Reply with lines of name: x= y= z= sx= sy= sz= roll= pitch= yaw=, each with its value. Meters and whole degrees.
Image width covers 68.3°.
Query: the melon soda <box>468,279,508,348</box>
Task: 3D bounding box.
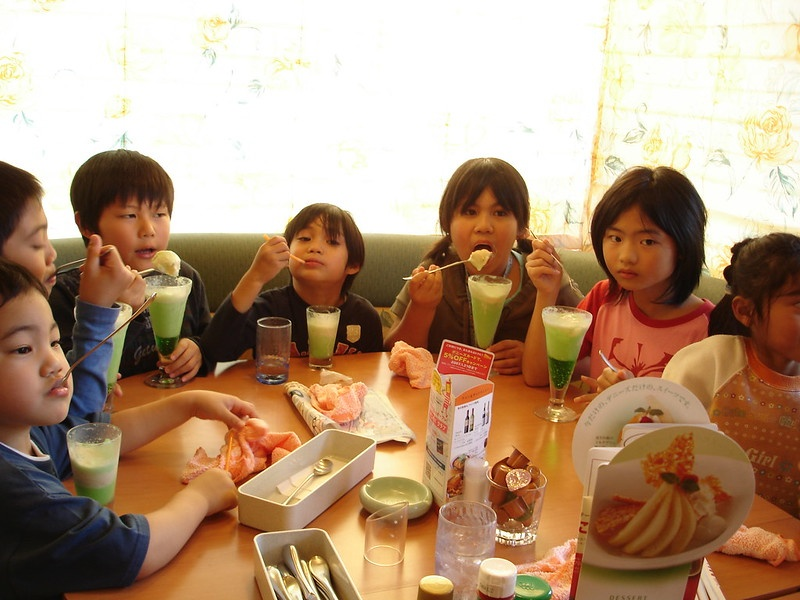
melon soda: x=0.311 y=0.051 z=2.139 sx=0.146 sy=0.269 sz=0.155 roll=10 pitch=17 yaw=11

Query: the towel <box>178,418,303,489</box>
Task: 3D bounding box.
towel: x=-0.393 y=0.377 z=1.484 sx=0.227 sy=0.088 sz=0.145 roll=-19 pitch=35 yaw=-37

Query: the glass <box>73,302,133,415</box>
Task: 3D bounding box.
glass: x=-0.835 y=0.163 z=1.642 sx=0.119 sy=0.311 sz=0.125 roll=5 pitch=37 yaw=-23

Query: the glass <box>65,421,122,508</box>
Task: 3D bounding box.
glass: x=-0.702 y=0.414 z=1.364 sx=0.115 sy=0.204 sz=0.118 roll=0 pitch=5 yaw=-16

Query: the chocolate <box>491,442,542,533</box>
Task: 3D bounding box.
chocolate: x=0.257 y=0.415 z=1.309 sx=0.133 sy=0.224 sz=0.135 roll=0 pitch=-1 yaw=-4

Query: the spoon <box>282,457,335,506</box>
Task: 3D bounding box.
spoon: x=-0.217 y=0.425 z=1.421 sx=0.037 sy=0.021 sz=0.181 roll=3 pitch=37 yaw=34

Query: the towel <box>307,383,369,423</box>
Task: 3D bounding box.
towel: x=-0.182 y=0.286 z=1.732 sx=0.112 sy=0.057 sz=0.116 roll=-3 pitch=25 yaw=-20

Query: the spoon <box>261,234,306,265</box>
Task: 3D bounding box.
spoon: x=-0.440 y=-0.191 z=2.250 sx=0.196 sy=0.026 sz=0.026 roll=44 pitch=-5 yaw=4

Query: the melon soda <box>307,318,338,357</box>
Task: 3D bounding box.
melon soda: x=-0.273 y=0.126 z=2.054 sx=0.096 sy=0.164 sz=0.063 roll=3 pitch=8 yaw=-2

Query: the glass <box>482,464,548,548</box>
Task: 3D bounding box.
glass: x=0.259 y=0.468 z=1.375 sx=0.134 sy=0.166 sz=0.151 roll=1 pitch=11 yaw=-5

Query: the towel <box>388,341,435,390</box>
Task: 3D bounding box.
towel: x=0.053 y=0.213 z=2.036 sx=0.162 sy=0.097 sz=0.251 roll=-2 pitch=21 yaw=-8

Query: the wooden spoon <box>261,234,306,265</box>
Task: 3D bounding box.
wooden spoon: x=-0.440 y=-0.191 z=2.250 sx=0.196 sy=0.026 sz=0.026 roll=44 pitch=-5 yaw=4

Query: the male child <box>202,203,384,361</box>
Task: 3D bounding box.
male child: x=-0.380 y=-0.064 z=2.388 sx=0.724 sy=0.894 sz=0.576 roll=1 pitch=-1 yaw=-7

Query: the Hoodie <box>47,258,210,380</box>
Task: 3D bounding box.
Hoodie: x=-1.050 y=0.052 z=2.287 sx=0.386 sy=0.501 sz=0.552 roll=2 pitch=-30 yaw=-16

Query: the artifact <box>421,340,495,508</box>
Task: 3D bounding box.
artifact: x=0.137 y=0.299 z=1.397 sx=0.147 sy=0.370 sz=0.180 roll=4 pitch=8 yaw=3

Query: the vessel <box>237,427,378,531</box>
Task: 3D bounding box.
vessel: x=-0.201 y=0.381 z=1.399 sx=0.138 sy=0.082 sz=0.339 roll=19 pitch=28 yaw=26

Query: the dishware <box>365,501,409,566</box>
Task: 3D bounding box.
dishware: x=-0.031 y=0.500 z=1.307 sx=0.114 sy=0.128 sz=0.091 roll=0 pitch=3 yaw=-40

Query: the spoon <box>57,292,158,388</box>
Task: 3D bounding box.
spoon: x=-0.888 y=0.114 z=1.765 sx=0.049 sy=0.342 sz=0.055 roll=39 pitch=-6 yaw=29

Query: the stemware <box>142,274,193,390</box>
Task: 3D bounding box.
stemware: x=-0.774 y=0.098 z=1.951 sx=0.147 sy=0.357 sz=0.152 roll=1 pitch=10 yaw=-17
